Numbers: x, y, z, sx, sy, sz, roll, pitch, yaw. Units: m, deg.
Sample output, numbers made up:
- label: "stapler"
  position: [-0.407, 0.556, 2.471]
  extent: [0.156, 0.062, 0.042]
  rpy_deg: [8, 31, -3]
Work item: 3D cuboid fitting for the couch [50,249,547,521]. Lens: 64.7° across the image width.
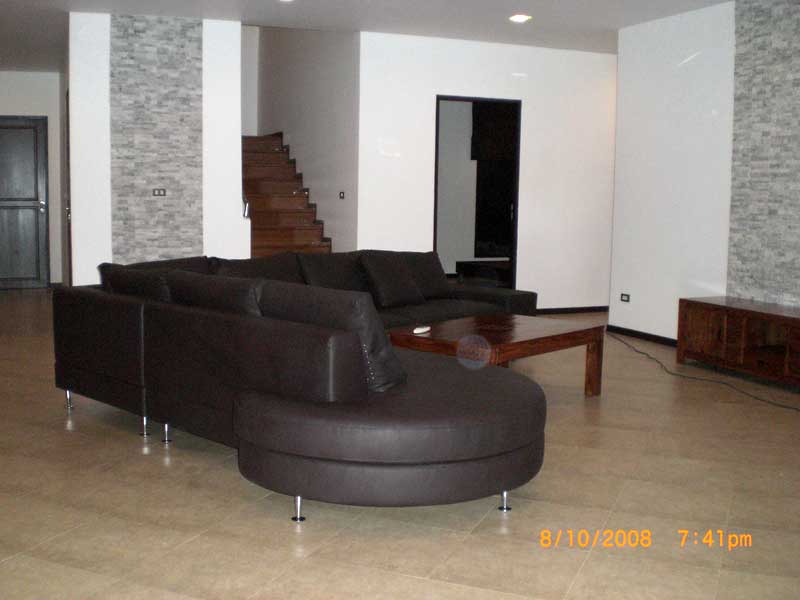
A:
- label: "couch"
  position: [-0.161, 0.232, 4.694]
  extent: [3.312, 1.117, 3.322]
  rpy_deg: [10, 14, 39]
